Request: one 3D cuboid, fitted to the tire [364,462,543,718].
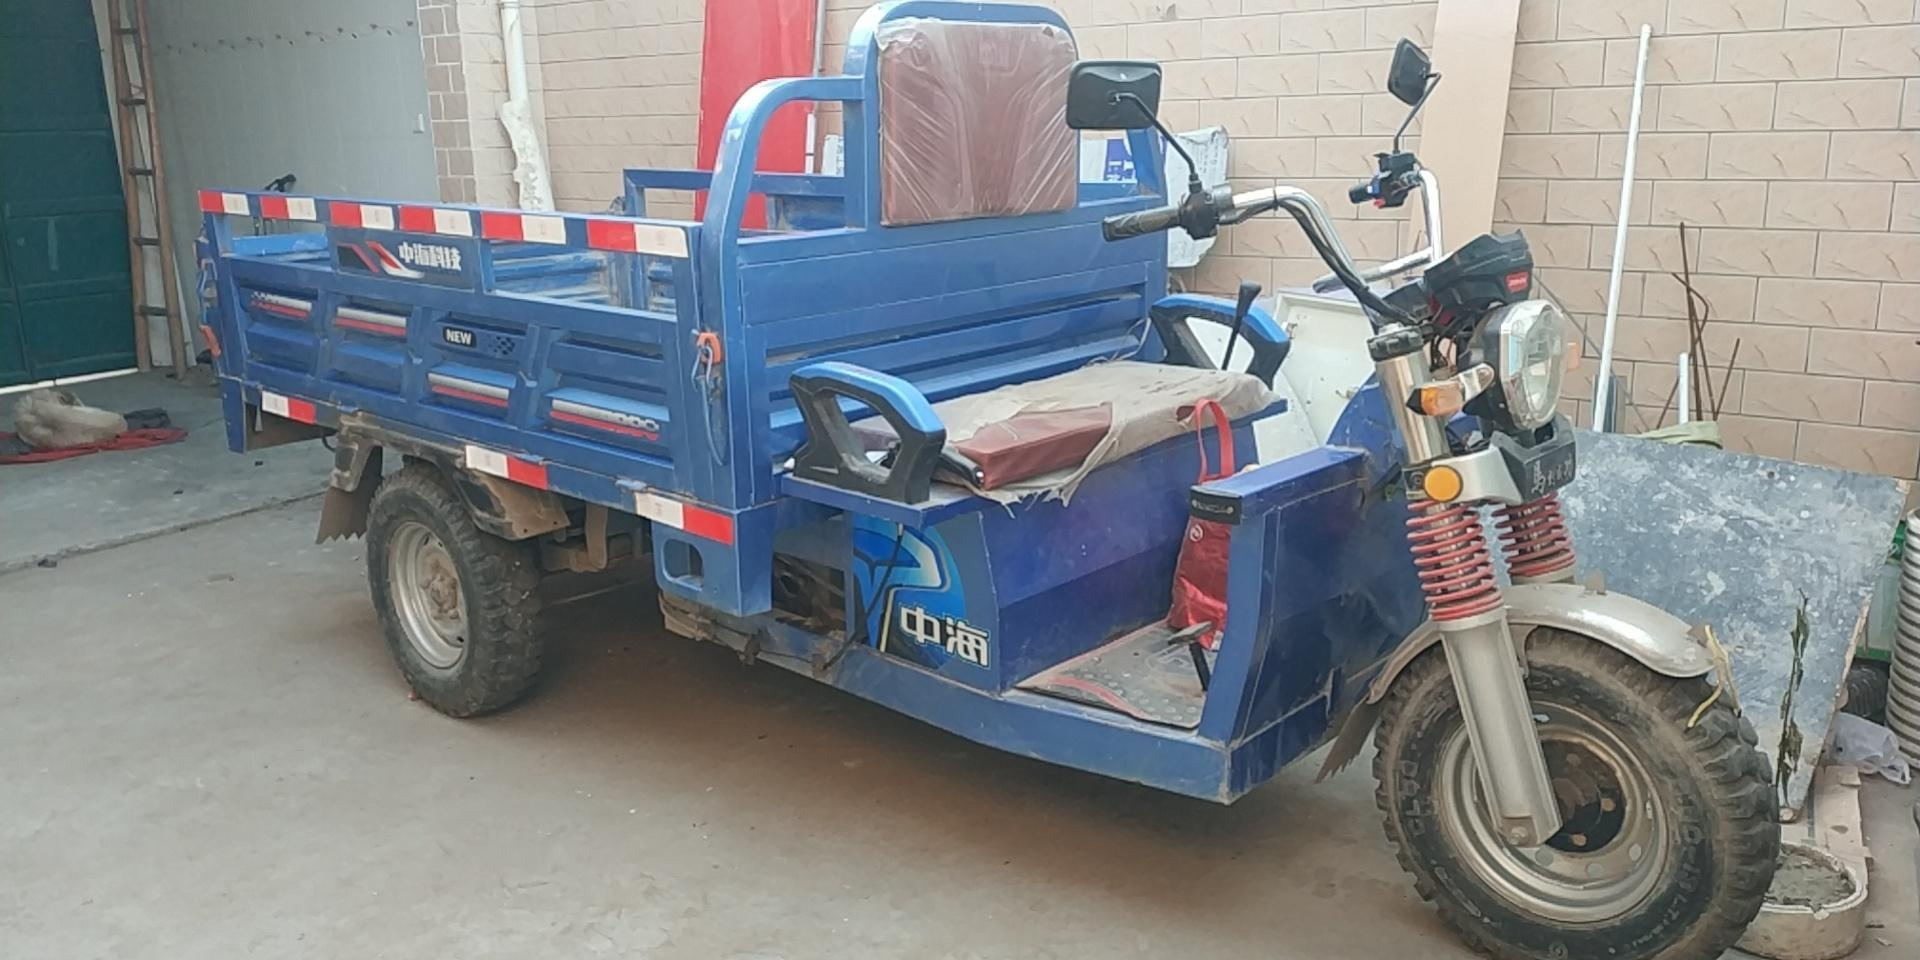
[{"bbox_3d":[-2.851,0.616,7.043,1.373,1.407,0.448,6,18,35],"label":"tire"}]
